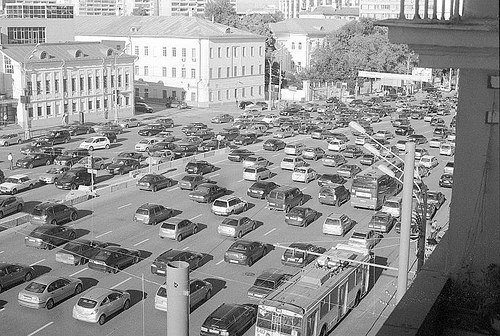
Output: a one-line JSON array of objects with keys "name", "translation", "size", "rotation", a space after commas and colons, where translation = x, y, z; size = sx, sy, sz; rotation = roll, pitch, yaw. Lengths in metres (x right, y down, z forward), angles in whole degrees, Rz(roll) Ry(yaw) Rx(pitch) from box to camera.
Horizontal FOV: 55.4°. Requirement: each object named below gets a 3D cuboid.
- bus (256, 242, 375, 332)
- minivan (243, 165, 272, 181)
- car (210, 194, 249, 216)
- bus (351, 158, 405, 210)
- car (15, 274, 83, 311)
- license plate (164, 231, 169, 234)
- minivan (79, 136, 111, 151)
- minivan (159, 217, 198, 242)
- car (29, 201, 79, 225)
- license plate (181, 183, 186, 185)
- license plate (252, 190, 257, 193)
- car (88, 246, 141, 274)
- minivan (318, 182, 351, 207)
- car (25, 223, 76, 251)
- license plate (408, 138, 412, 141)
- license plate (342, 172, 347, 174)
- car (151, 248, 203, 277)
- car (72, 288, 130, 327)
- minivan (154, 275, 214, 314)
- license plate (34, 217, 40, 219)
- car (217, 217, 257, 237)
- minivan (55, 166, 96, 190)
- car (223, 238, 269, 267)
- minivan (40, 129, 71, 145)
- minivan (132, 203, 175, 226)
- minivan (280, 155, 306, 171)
[{"name": "bus", "translation": [3.383, 5.726, 22.628], "size": [2.644, 2.216, 8.714], "rotation": [5, 11, 34]}, {"name": "minivan", "translation": [0.655, 0.452, 44.248], "size": [2.572, 1.294, 1.158], "rotation": [-11, 14, -40]}, {"name": "car", "translation": [-1.420, 2.771, 36.405], "size": [1.385, 1.105, 2.447], "rotation": [13, 26, 38]}, {"name": "bus", "translation": [9.789, 1.398, 36.807], "size": [2.147, 2.209, 6.643], "rotation": [10, 25, 34]}, {"name": "car", "translation": [-9.977, 6.087, 23.946], "size": [1.401, 1.017, 3.252], "rotation": [13, 20, 25]}, {"name": "license plate", "translation": [-5.631, 4.223, 31.522], "size": [0.305, 0.075, 0.051], "rotation": [6, 17, 16]}, {"name": "minivan", "translation": [-18.182, -2.860, 55.550], "size": [2.764, 1.223, 1.612], "rotation": [-4, 9, -36]}, {"name": "minivan", "translation": [-4.843, 4.100, 32.060], "size": [2.346, 1.305, 1.203], "rotation": [-11, 14, -41]}, {"name": "car", "translation": [-14.138, 3.248, 34.235], "size": [1.712, 1.495, 3.476], "rotation": [5, 11, 19]}, {"name": "license plate", "translation": [-5.868, 1.376, 41.230], "size": [0.385, 0.133, 0.057], "rotation": [1, 11, 15]}, {"name": "license plate", "translation": [0.337, 1.926, 39.282], "size": [0.368, 0.181, 0.076], "rotation": [2, 9, 11]}, {"name": "car", "translation": [-7.706, 5.229, 27.766], "size": [1.244, 0.818, 2.600], "rotation": [14, 20, 27]}, {"name": "minivan", "translation": [7.088, 2.067, 39.742], "size": [1.849, 1.466, 3.259], "rotation": [10, 18, 35]}, {"name": "car", "translation": [-12.597, 4.271, 30.255], "size": [1.480, 1.110, 2.768], "rotation": [15, 24, 33]}, {"name": "license plate", "translation": [20.029, -3.572, 59.513], "size": [0.346, 0.087, 0.373], "rotation": [5, 16, 32]}, {"name": "license plate", "translation": [8.893, 0.462, 44.948], "size": [0.379, 0.092, 0.070], "rotation": [3, 24, 14]}, {"name": "car", "translation": [-4.272, 5.408, 27.288], "size": [1.548, 1.082, 2.657], "rotation": [6, 13, 37]}, {"name": "car", "translation": [-7.190, 6.504, 23.276], "size": [1.680, 1.253, 3.064], "rotation": [6, 9, 18]}, {"name": "minivan", "translation": [-3.377, 6.177, 24.032], "size": [1.602, 1.341, 3.327], "rotation": [11, 22, 34]}, {"name": "license plate", "translation": [-14.806, 3.444, 32.800], "size": [0.461, 0.136, 0.025], "rotation": [2, 12, 23]}, {"name": "car", "translation": [-0.751, 3.942, 32.696], "size": [1.088, 0.691, 2.213], "rotation": [9, 17, 31]}, {"name": "minivan", "translation": [-15.468, 0.804, 41.960], "size": [1.862, 1.511, 3.555], "rotation": [12, 12, 24]}, {"name": "car", "translation": [-0.228, 4.986, 29.505], "size": [1.692, 1.072, 3.355], "rotation": [8, 14, 21]}, {"name": "minivan", "translation": [-23.258, -3.704, 56.614], "size": [1.508, 1.097, 2.767], "rotation": [6, 7, 36]}, {"name": "minivan", "translation": [-7.134, 3.238, 35.109], "size": [1.623, 1.269, 3.317], "rotation": [10, 14, 25]}, {"name": "minivan", "translation": [4.370, -0.697, 47.584], "size": [1.327, 0.980, 2.097], "rotation": [9, 26, 37]}]
